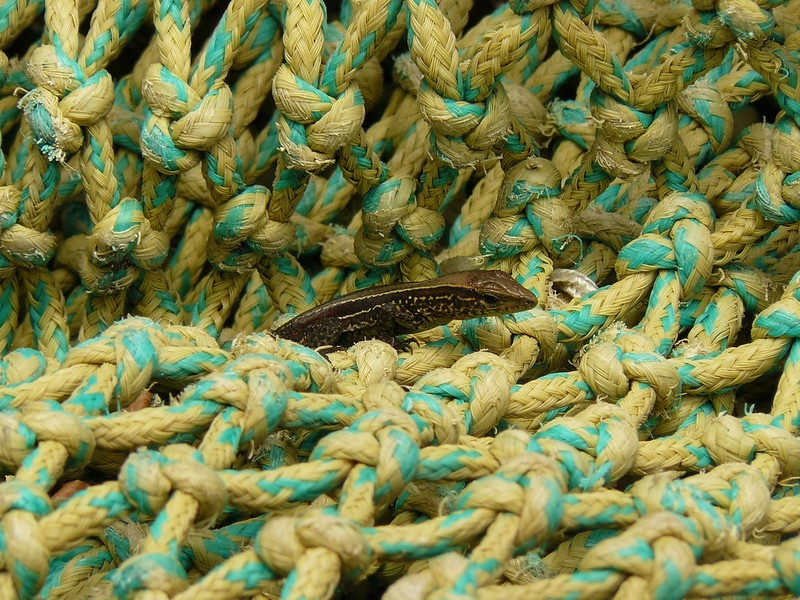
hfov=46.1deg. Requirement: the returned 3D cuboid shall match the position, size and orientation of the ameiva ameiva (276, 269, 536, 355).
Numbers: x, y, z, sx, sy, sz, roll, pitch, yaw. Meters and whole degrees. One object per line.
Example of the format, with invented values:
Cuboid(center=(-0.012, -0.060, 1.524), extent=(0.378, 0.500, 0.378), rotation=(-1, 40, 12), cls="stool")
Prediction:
Cuboid(center=(0.000, 0.093, 2.159), extent=(0.618, 0.156, 0.232), rotation=(-5, 26, 20), cls="ameiva ameiva")
